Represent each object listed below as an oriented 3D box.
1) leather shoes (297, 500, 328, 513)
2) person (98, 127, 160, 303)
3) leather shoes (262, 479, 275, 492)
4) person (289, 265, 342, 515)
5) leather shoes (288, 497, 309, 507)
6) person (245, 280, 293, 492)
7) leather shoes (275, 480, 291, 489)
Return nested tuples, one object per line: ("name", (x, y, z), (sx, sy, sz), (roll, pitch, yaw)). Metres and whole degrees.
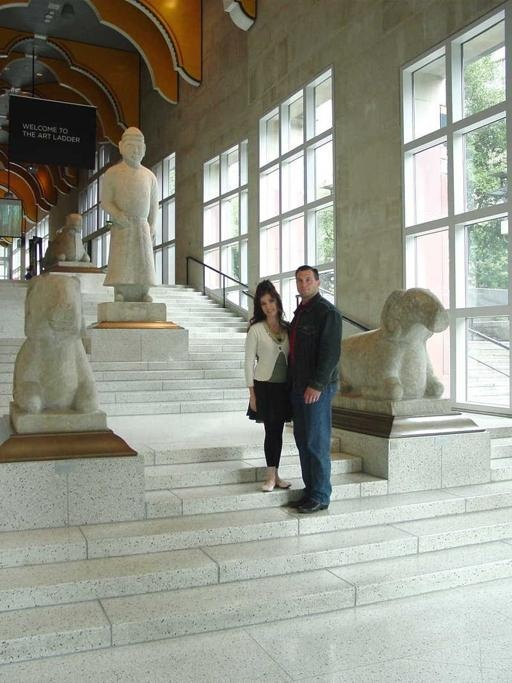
("leather shoes", (0.335, 0.956, 3.473), (0.176, 0.077, 0.070), (9, -13, -29))
("person", (-1.612, -1.651, 7.598), (0.708, 2.154, 0.668), (3, 0, -15))
("leather shoes", (0.078, 0.897, 3.702), (0.050, 0.060, 0.143), (-2, -12, 6))
("person", (0.324, 0.281, 3.474), (0.292, 1.386, 0.475), (3, 0, 3))
("leather shoes", (0.252, 0.959, 3.545), (0.133, 0.060, 0.050), (1, -3, -14))
("person", (0.072, 0.283, 3.632), (0.289, 1.252, 0.192), (3, 0, 0))
("leather shoes", (0.170, 0.902, 3.771), (0.038, 0.051, 0.115), (5, -18, -26))
